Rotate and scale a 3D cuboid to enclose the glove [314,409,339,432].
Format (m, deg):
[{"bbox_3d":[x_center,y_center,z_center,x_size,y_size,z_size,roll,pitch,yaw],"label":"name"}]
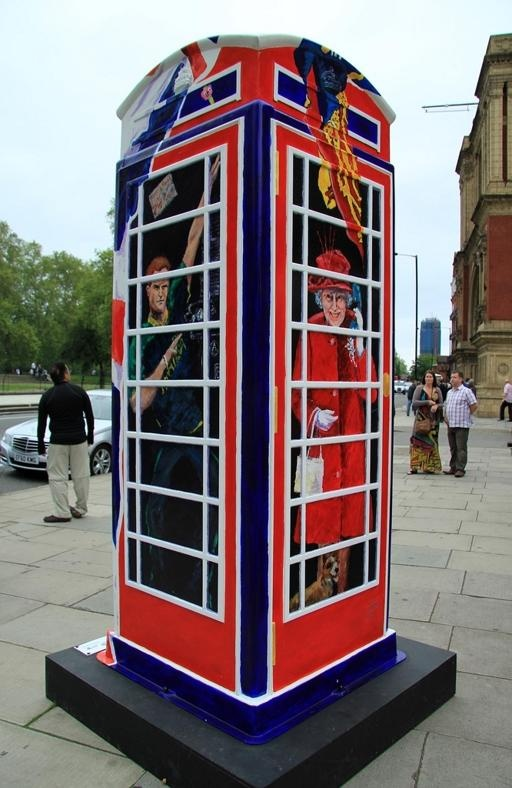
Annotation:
[{"bbox_3d":[0.268,0.101,2.685,0.078,0.091,0.069,1,-3,31],"label":"glove"}]

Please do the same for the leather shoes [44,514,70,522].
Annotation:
[{"bbox_3d":[-2.041,1.281,7.174,0.216,0.110,0.108,0,1,-8],"label":"leather shoes"}]

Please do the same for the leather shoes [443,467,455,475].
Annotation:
[{"bbox_3d":[3.048,1.222,11.070,0.068,0.158,0.186,2,3,-43],"label":"leather shoes"}]

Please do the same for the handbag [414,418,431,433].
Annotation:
[{"bbox_3d":[2.544,0.463,10.727,0.238,0.271,0.201,-10,5,12],"label":"handbag"}]

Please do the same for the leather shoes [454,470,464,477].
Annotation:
[{"bbox_3d":[3.096,1.216,10.699,0.129,0.106,0.193,1,1,11],"label":"leather shoes"}]

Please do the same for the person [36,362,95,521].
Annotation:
[{"bbox_3d":[-2.003,0.487,7.341,0.551,1.386,1.125,1,1,-15],"label":"person"}]

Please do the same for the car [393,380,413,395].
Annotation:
[{"bbox_3d":[12.647,-0.537,60.571,1.219,1.170,2.988,-2,-3,22],"label":"car"}]
